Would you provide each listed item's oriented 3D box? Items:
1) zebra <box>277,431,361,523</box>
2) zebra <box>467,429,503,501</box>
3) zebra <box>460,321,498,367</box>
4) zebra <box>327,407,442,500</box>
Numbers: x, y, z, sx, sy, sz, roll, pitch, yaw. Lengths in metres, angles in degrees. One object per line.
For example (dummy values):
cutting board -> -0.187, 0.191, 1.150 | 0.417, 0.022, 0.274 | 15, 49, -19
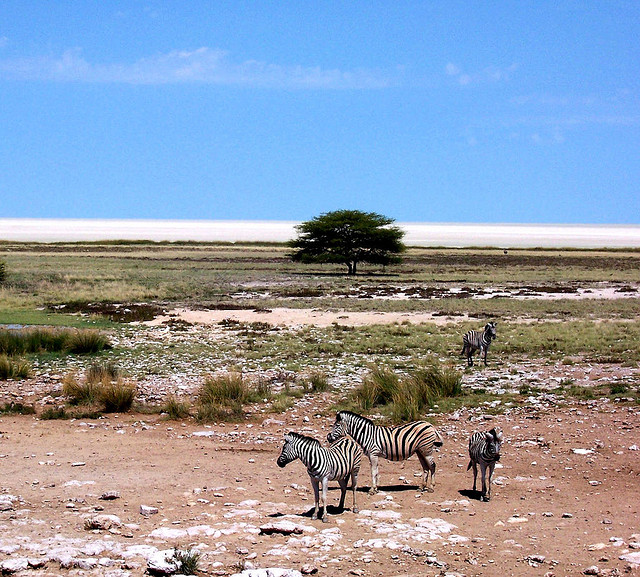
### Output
zebra -> 0.021, 3.709, 25.050 | 2.160, 1.792, 0.721 | -1, 2, -45
zebra -> 3.392, 3.549, 26.131 | 0.607, 1.444, 1.091 | 1, 13, 2
zebra -> 4.694, 1.626, 37.210 | 0.448, 1.258, 1.575 | 4, -6, -31
zebra -> 1.236, 3.442, 26.829 | 1.996, 1.945, 2.446 | -2, 4, 40
